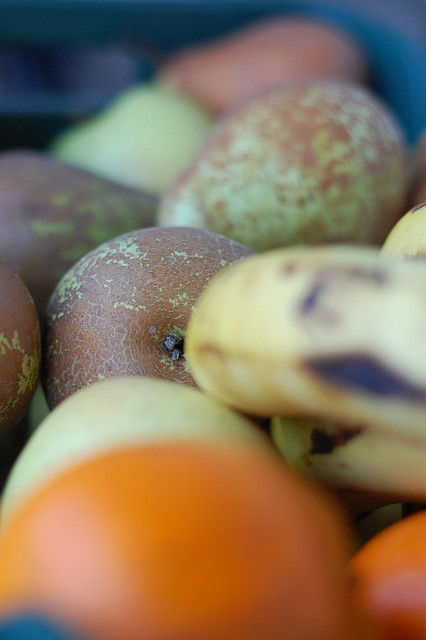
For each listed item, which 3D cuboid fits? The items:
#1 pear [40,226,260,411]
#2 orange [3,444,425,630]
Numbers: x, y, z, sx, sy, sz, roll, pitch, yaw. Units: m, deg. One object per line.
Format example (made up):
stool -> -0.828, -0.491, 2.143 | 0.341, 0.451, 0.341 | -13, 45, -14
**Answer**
pear -> -0.058, 0.005, 0.525 | 0.127, 0.165, 0.127 | -14, 16, -34
orange -> 0.010, 0.111, 0.300 | 0.161, 0.078, 0.100 | -9, 47, 11
